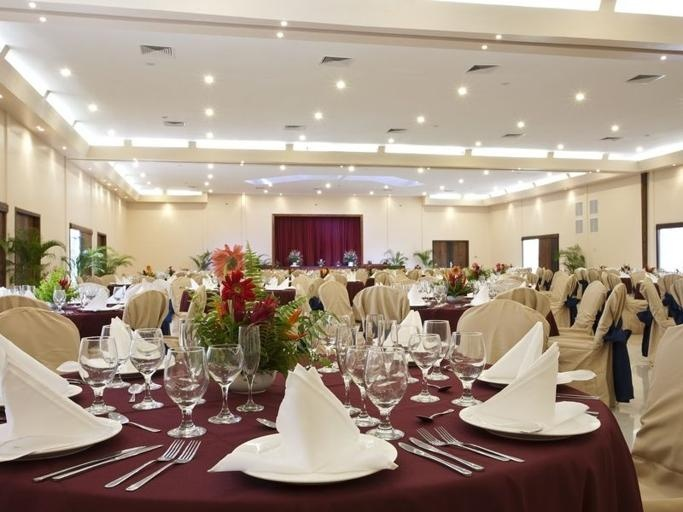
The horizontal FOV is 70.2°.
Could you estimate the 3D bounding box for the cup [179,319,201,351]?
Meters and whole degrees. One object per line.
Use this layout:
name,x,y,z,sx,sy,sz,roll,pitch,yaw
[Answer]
cup,-0.522,0.268,1.668,0.072,0.133,0.074,1,-7,0

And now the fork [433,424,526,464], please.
fork,0.380,0.511,1.320,0.034,0.043,0.256,-6,3,-28

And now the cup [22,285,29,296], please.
cup,-3.407,0.368,5.210,0.067,0.147,0.086,1,-3,-37

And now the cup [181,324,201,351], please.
cup,-0.516,0.272,1.660,0.058,0.108,0.059,1,-7,0

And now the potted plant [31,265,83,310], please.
potted plant,-3.964,0.393,6.671,0.368,0.474,0.428,-2,-10,3

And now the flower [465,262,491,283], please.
flower,1.738,0.216,6.140,0.333,0.311,0.380,-1,-7,7

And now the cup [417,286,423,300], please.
cup,0.847,0.391,5.283,0.068,0.114,0.093,-3,-15,-4

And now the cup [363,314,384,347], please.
cup,0.122,0.286,1.912,0.084,0.167,0.090,1,-5,0

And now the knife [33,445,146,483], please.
knife,-0.642,0.521,1.219,0.036,0.014,0.224,12,8,38

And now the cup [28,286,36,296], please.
cup,-3.671,0.406,5.734,0.087,0.147,0.067,0,-3,-25

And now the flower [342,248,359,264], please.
flower,0.457,0.030,22.149,0.609,0.958,0.619,2,-4,-18

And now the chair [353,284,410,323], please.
chair,0.416,0.495,5.161,0.618,0.360,0.304,-1,-4,12

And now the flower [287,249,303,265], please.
flower,-2.111,0.094,21.775,0.604,1.003,0.647,2,-11,-5

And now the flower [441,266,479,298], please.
flower,1.316,0.295,5.410,0.352,0.313,0.405,1,-2,3

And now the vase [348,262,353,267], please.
vase,0.396,0.345,21.582,0.174,0.222,0.173,2,-1,-1

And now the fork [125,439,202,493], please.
fork,-0.441,0.499,1.209,0.036,0.037,0.234,-19,6,20

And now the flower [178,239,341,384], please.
flower,-0.320,0.121,1.897,0.400,0.561,0.460,-8,7,-3

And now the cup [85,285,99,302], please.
cup,-2.535,0.348,4.901,0.094,0.157,0.146,0,-4,2

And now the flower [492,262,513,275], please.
flower,4.409,0.320,13.196,0.351,0.256,0.379,2,-9,-22

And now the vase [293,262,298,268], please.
vase,-2.056,0.375,21.366,0.204,0.297,0.231,-1,-1,-5

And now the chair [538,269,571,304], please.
chair,3.652,0.504,8.392,0.390,0.683,0.416,2,1,-14

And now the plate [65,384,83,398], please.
plate,-0.949,0.460,1.716,0.052,0.010,0.052,1,5,-39

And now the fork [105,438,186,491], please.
fork,-0.477,0.487,1.260,0.038,0.051,0.314,-1,10,20
